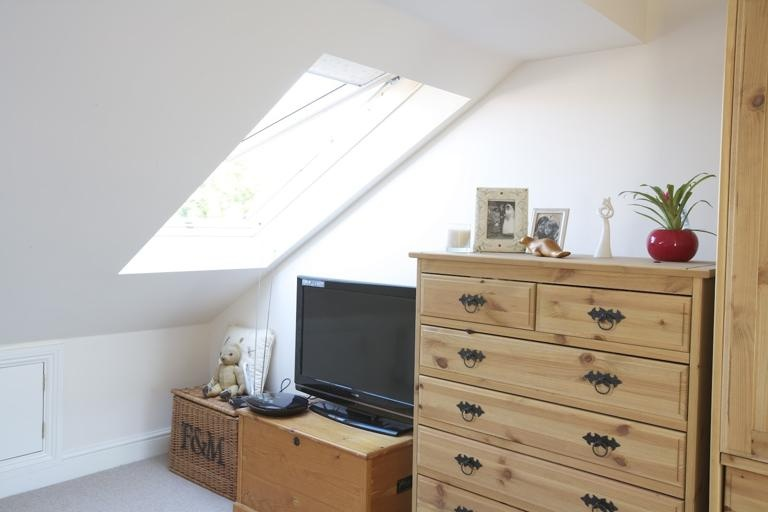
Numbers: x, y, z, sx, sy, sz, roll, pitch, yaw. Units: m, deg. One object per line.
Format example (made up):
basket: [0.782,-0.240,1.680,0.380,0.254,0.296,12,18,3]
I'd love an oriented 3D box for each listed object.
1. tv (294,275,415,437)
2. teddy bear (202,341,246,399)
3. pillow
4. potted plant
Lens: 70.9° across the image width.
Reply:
tv: [-0.161,0.611,3.218,0.947,0.742,0.222,0,-5,40]
teddy bear: [-1.111,0.818,3.893,0.288,0.422,0.337,3,-1,3]
pillow: [-0.966,0.750,3.951,0.431,0.414,0.174,11,-1,34]
potted plant: [1.242,-0.155,2.355,0.394,0.272,0.333,3,11,23]
